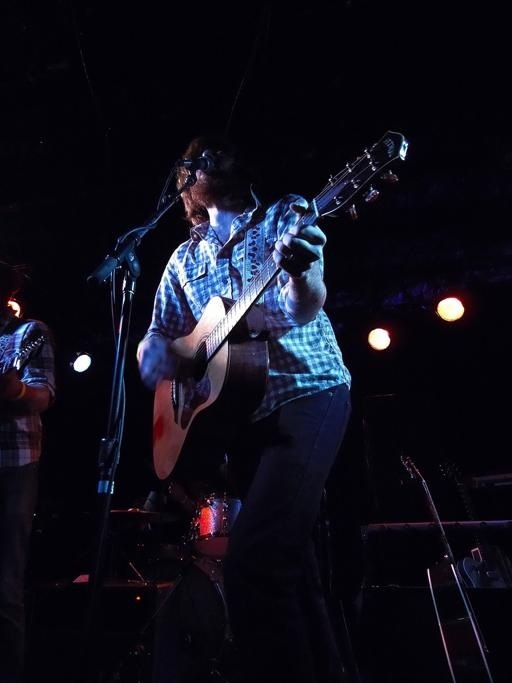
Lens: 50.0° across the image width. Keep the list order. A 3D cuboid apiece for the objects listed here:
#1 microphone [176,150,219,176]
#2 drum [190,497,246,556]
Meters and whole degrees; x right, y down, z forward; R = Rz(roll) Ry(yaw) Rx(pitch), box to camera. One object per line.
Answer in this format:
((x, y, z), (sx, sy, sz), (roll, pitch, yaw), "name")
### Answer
((-0.254, -0.801, 2.502), (0.101, 0.117, 0.205), (5, 28, 36), "microphone")
((-0.208, 1.077, 3.261), (0.220, 0.285, 0.263), (-3, -16, -2), "drum")
